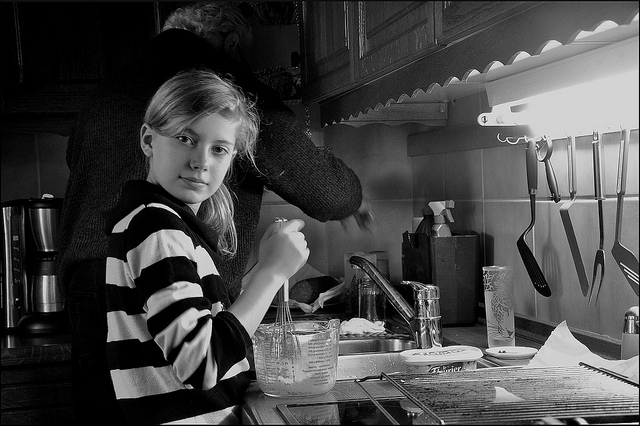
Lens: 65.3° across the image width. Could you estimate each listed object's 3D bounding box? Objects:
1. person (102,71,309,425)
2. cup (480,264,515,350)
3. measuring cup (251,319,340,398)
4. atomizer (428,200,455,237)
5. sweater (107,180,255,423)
[{"bbox_3d":[-0.235,0.072,1.070,0.360,0.776,0.258,-1,-2,-41],"label":"person"},{"bbox_3d":[0.504,0.266,1.402,0.077,0.191,0.094,-3,-2,19],"label":"cup"},{"bbox_3d":[-0.063,0.343,1.208,0.192,0.164,0.176,2,3,0],"label":"measuring cup"},{"bbox_3d":[0.429,0.019,1.754,0.081,0.095,0.140,-3,-2,13],"label":"atomizer"},{"bbox_3d":[-0.273,0.198,1.014,0.298,0.544,0.242,-2,-2,-22],"label":"sweater"}]
